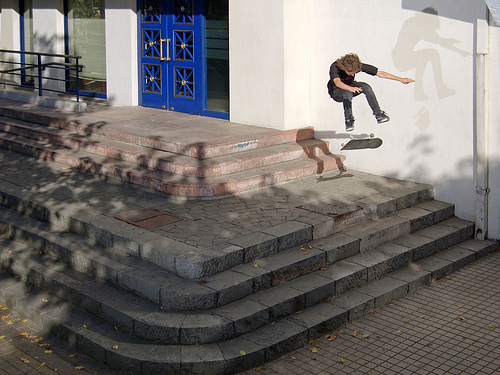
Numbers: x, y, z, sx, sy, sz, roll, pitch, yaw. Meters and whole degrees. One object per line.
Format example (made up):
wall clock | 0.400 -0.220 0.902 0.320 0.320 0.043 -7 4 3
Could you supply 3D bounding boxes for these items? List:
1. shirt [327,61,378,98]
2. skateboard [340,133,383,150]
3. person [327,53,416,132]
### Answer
shirt | 1.940 -2.155 9.671 0.078 0.659 1.060 -12 15 -42
skateboard | 2.194 -0.881 9.749 0.772 0.237 0.295 0 37 39
person | 2.118 -1.920 9.555 1.096 1.263 1.595 -28 33 -35
